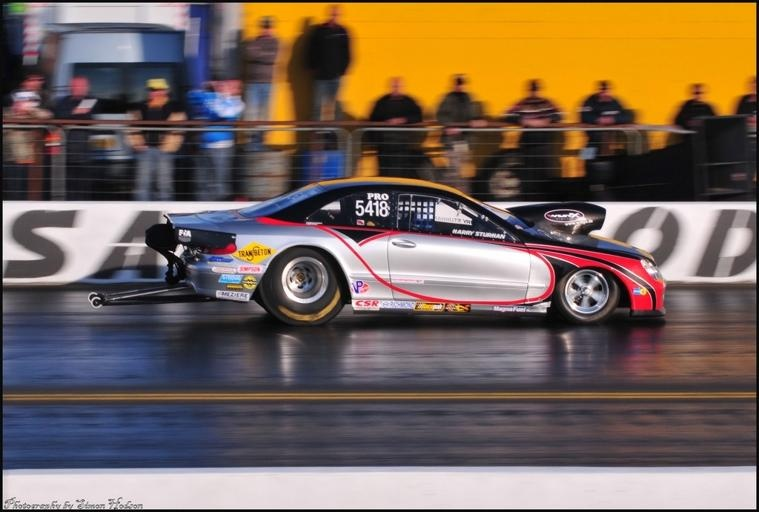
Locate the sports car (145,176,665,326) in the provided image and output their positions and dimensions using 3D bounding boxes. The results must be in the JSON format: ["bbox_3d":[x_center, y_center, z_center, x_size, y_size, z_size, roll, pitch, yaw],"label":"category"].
[{"bbox_3d":[0.041,0.014,17.018,6.960,1.761,1.831,0,2,-3],"label":"sports car"}]

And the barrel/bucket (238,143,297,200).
[{"bbox_3d":[-1.519,-1.103,19.249,0.872,0.634,0.573,-2,14,-2],"label":"barrel/bucket"}]
